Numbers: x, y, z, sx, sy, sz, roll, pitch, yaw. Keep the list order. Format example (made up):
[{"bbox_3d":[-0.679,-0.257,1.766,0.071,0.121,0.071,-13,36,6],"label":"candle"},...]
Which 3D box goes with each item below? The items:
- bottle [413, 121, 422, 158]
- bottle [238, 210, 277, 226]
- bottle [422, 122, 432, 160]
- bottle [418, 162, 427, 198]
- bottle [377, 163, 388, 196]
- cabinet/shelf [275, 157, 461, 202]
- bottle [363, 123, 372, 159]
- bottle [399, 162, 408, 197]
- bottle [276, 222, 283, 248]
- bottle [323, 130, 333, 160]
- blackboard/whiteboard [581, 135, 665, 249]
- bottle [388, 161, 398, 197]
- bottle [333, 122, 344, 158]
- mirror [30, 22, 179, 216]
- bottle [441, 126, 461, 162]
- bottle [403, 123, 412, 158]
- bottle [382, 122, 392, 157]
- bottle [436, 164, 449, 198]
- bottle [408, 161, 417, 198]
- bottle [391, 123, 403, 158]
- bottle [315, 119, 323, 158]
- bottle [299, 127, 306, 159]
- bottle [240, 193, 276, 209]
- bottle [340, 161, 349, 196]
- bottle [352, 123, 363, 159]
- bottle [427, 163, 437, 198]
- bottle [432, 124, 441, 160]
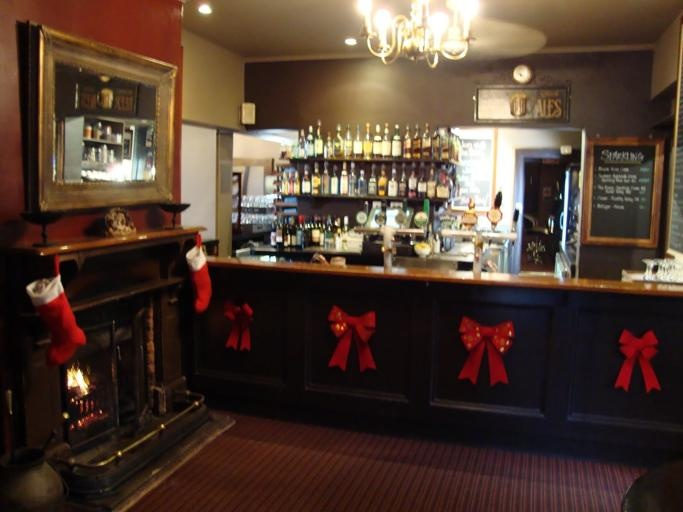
[{"bbox_3d":[0.996,-1.510,7.247,0.125,0.453,0.428,1,10,9],"label":"bottle"},{"bbox_3d":[-1.459,-0.676,9.694,0.595,0.401,0.143,3,-6,-5],"label":"bottle"},{"bbox_3d":[1.120,-1.499,7.214,0.120,0.459,0.421,1,10,9],"label":"bottle"},{"bbox_3d":[1.063,-0.987,7.237,0.121,0.424,0.275,1,9,9],"label":"bottle"},{"bbox_3d":[0.555,-1.011,7.439,0.136,0.406,0.284,0,9,5],"label":"bottle"},{"bbox_3d":[0.304,-1.002,7.366,2.218,0.666,0.352,1,-2,3],"label":"cabinet/shelf"},{"bbox_3d":[0.361,-1.547,7.430,0.125,0.467,0.391,0,10,3],"label":"bottle"},{"bbox_3d":[0.836,-1.024,7.401,0.107,0.417,0.198,0,9,6],"label":"bottle"},{"bbox_3d":[-0.838,-0.264,7.548,0.099,0.291,0.150,0,9,8],"label":"bottle"},{"bbox_3d":[-0.173,-1.525,7.591,0.130,0.367,0.316,-1,10,-2],"label":"bottle"},{"bbox_3d":[3.549,-0.798,6.988,0.870,1.563,0.116,2,-20,30],"label":"blackboard/whiteboard"},{"bbox_3d":[0.702,-1.016,7.408,0.146,0.419,0.313,0,10,4],"label":"bottle"},{"bbox_3d":[-0.034,-1.576,7.551,0.133,0.446,0.325,-1,10,-1],"label":"bottle"},{"bbox_3d":[-1.661,-0.944,3.788,0.088,1.209,1.291,5,7,22],"label":"mirror"},{"bbox_3d":[1.419,-1.449,7.258,0.246,0.474,0.708,2,11,16],"label":"bottle"},{"bbox_3d":[0.880,-1.508,7.307,0.108,0.430,0.358,0,10,6],"label":"bottle"},{"bbox_3d":[0.605,-1.541,7.361,0.119,0.445,0.391,0,10,4],"label":"bottle"},{"bbox_3d":[1.319,-0.953,7.168,0.164,0.404,0.275,1,10,10],"label":"bottle"},{"bbox_3d":[0.950,-1.002,7.303,0.125,0.429,0.320,0,10,7],"label":"bottle"},{"bbox_3d":[0.735,-1.527,7.314,0.130,0.433,0.376,0,10,7],"label":"bottle"},{"bbox_3d":[-0.304,-1.633,7.640,0.111,0.506,0.316,-1,9,-1],"label":"bottle"},{"bbox_3d":[-0.551,-1.564,7.671,0.106,0.381,0.302,-1,10,-5],"label":"bottle"},{"bbox_3d":[-1.488,-0.951,9.793,0.568,0.191,0.454,-1,12,-1],"label":"bottle"},{"bbox_3d":[0.043,-1.056,7.546,0.121,0.443,0.231,-1,9,1],"label":"bottle"},{"bbox_3d":[0.228,-1.550,7.467,0.127,0.424,0.377,-1,10,2],"label":"bottle"},{"bbox_3d":[1.184,-0.969,7.210,0.104,0.396,0.261,1,9,11],"label":"bottle"},{"bbox_3d":[1.224,-1.443,7.087,0.111,0.400,0.218,1,9,9],"label":"bottle"}]
